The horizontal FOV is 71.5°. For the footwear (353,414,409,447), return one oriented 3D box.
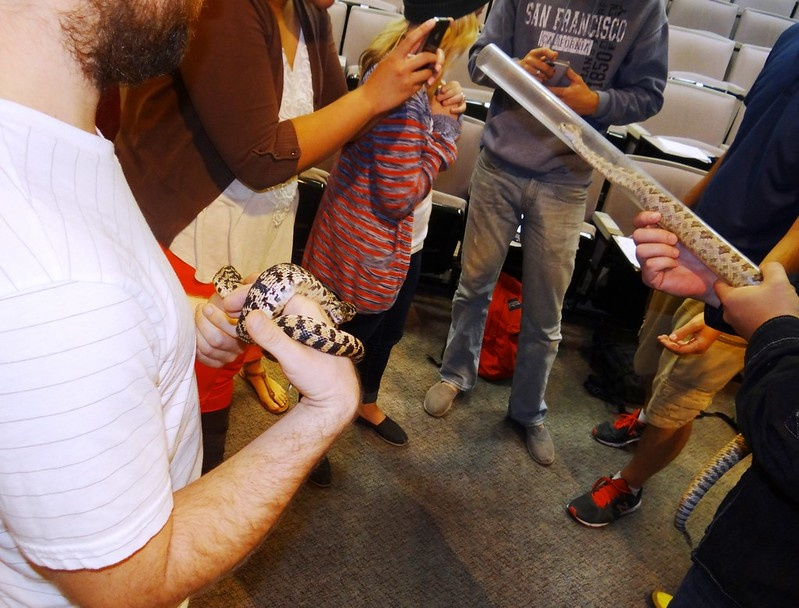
[{"bbox_3d":[-0.127,0.765,3.429,0.349,0.106,0.137,25,36,17],"label":"footwear"}]

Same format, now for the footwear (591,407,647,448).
[{"bbox_3d":[1.563,0.841,3.850,0.531,0.201,0.189,1,37,-24],"label":"footwear"}]

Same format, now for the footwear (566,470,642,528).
[{"bbox_3d":[1.175,1.132,3.259,0.510,0.232,0.214,-20,62,-19],"label":"footwear"}]

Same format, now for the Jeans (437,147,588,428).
[{"bbox_3d":[0.702,-0.209,3.457,0.660,1.956,0.424,16,24,14],"label":"Jeans"}]

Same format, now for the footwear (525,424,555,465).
[{"bbox_3d":[0.887,0.885,3.548,0.113,0.084,0.300,-11,29,-1],"label":"footwear"}]

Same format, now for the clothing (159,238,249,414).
[{"bbox_3d":[-0.582,0.089,1.910,0.194,0.533,0.404,-3,-3,15],"label":"clothing"}]

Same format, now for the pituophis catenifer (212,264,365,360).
[{"bbox_3d":[-0.308,0.009,1.273,0.243,0.153,0.435,-1,16,-36],"label":"pituophis catenifer"}]

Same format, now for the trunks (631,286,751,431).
[{"bbox_3d":[1.476,0.350,2.958,0.524,0.913,0.412,17,-1,37],"label":"trunks"}]

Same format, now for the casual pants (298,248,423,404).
[{"bbox_3d":[-0.135,0.096,3.087,0.366,0.362,1.364,7,46,7],"label":"casual pants"}]
